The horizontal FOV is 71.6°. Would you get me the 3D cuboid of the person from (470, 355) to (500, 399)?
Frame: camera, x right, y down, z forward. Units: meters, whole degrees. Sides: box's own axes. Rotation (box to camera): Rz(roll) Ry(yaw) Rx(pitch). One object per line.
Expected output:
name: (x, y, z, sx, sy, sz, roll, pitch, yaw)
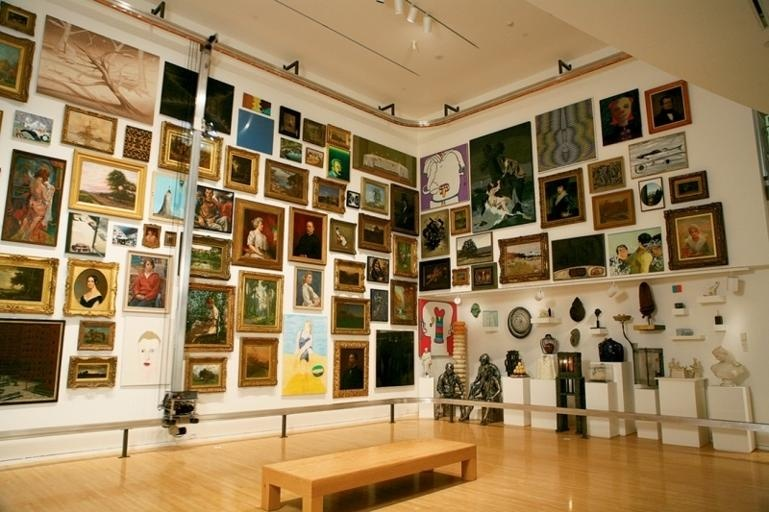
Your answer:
person: (3.166, 3.783, 16.667, 0.493, 1.486, 1.060, 15, -19, -39)
